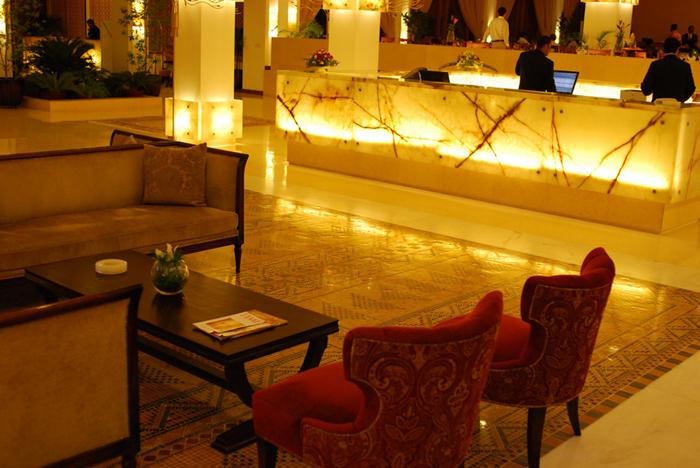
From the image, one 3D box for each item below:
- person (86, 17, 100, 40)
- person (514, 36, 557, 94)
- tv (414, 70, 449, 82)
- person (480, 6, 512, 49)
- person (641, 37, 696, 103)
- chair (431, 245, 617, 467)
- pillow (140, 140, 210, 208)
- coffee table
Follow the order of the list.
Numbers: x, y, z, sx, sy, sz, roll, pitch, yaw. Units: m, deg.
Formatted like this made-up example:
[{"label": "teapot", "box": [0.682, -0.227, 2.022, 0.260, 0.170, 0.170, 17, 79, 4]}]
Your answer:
[{"label": "person", "box": [-9.967, -7.953, 19.577, 0.410, 0.783, 2.020, -5, 21, -25]}, {"label": "person", "box": [2.860, -2.586, 7.643, 0.698, 0.768, 0.477, 15, 22, 28]}, {"label": "tv", "box": [1.307, -2.453, 7.852, 0.373, 0.117, 0.250, 5, 22, 15]}, {"label": "person", "box": [4.002, -5.501, 13.433, 0.553, 1.055, 1.242, 7, 19, 7]}, {"label": "person", "box": [4.454, -2.248, 6.910, 0.683, 0.838, 0.457, 10, 20, 14]}, {"label": "chair", "box": [1.044, 0.501, 3.236, 1.017, 1.258, 1.155, -16, 24, -43]}, {"label": "pillow", "box": [-1.687, -0.550, 4.866, 0.679, 0.633, 0.220, -2, -1, 1]}, {"label": "coffee table", "box": [-0.874, 0.677, 3.324, 0.788, 0.404, 1.762, -11, 12, -40]}]
